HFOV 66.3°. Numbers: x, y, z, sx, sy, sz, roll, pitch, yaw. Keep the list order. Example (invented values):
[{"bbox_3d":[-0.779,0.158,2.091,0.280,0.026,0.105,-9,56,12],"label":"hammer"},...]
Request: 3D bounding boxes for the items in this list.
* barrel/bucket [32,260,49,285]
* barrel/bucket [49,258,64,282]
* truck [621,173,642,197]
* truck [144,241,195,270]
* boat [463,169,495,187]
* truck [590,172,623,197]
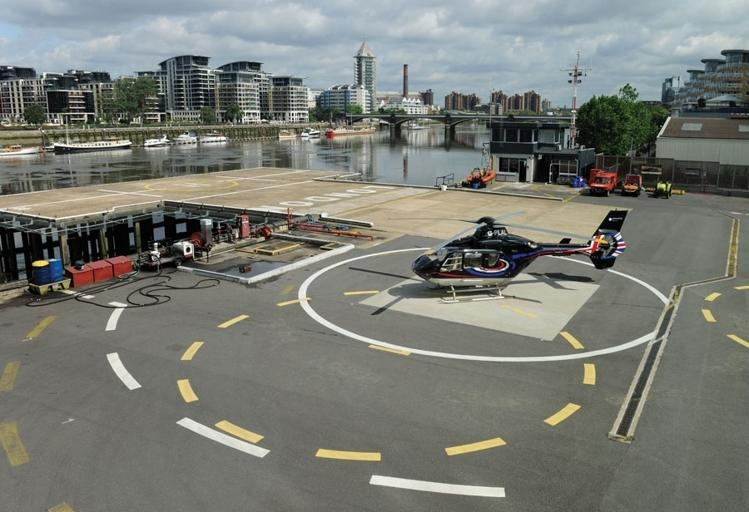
[{"bbox_3d":[-18.916,0.907,32.221,1.007,1.229,0.760,-4,15,-10],"label":"barrel/bucket"},{"bbox_3d":[-18.287,0.750,32.793,0.601,1.166,0.760,-7,16,-19],"label":"barrel/bucket"},{"bbox_3d":[29.622,-8.201,65.472,2.115,1.764,3.843,6,21,29],"label":"truck"},{"bbox_3d":[-13.425,-0.053,36.822,1.887,0.741,2.818,16,25,29],"label":"truck"},{"bbox_3d":[13.151,-9.348,70.786,2.671,1.815,5.122,13,28,32],"label":"boat"},{"bbox_3d":[26.563,-8.524,66.574,2.484,1.935,5.976,5,18,29],"label":"truck"}]
